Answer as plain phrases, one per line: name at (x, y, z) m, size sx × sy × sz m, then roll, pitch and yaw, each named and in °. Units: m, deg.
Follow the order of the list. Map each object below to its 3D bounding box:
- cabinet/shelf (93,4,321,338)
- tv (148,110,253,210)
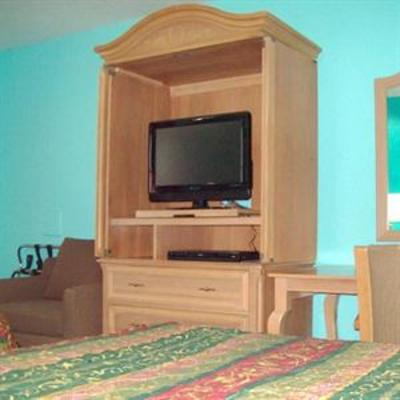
cabinet/shelf at (0.013, -0.128, 2.693) m, size 1.364 × 1.975 × 0.920 m, roll -7°, pitch -13°, yaw 35°
tv at (-0.006, -0.262, 2.882) m, size 0.940 × 0.623 × 0.105 m, roll 2°, pitch 2°, yaw 41°
